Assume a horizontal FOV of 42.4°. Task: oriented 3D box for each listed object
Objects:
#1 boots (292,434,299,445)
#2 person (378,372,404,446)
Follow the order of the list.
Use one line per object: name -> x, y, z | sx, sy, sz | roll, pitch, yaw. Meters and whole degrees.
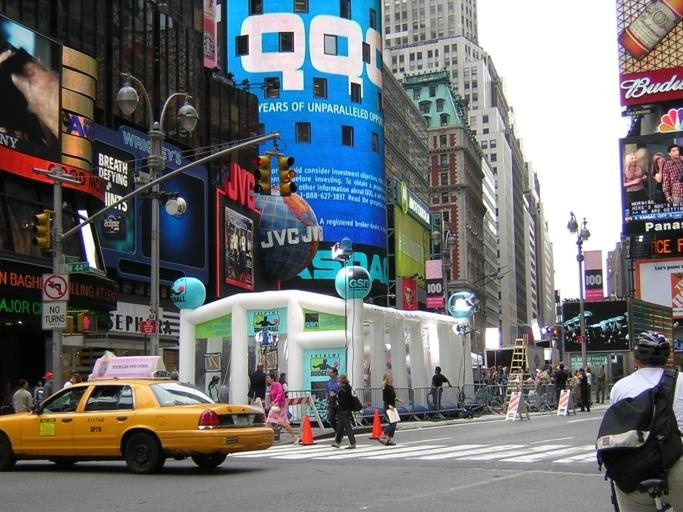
boots -> -1.360, 5.446, 25.814 | 0.148, 0.176, 0.468 | -1, -22, -1
person -> 1.357, 4.364, 24.822 | 0.506, 2.162, 0.425 | -3, -4, 29
